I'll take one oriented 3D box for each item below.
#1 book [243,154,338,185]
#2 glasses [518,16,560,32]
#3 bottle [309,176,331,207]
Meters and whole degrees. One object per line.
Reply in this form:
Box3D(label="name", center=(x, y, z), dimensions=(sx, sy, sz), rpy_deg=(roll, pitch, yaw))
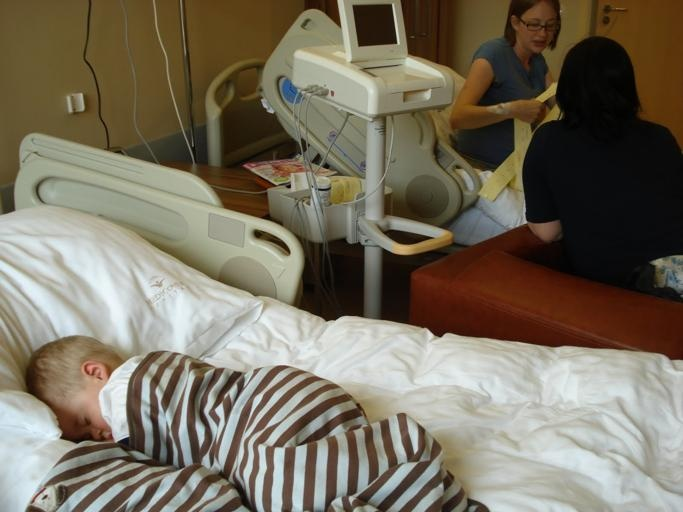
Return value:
Box3D(label="book", center=(-0.310, -0.463, 3.085), dimensions=(0.291, 0.078, 0.289), rpy_deg=(-22, 36, -36))
Box3D(label="glasses", center=(0.975, -1.121, 2.839), dimensions=(0.236, 0.063, 0.097), rpy_deg=(-12, 24, -27))
Box3D(label="bottle", center=(-0.095, -0.252, 2.294), dimensions=(0.089, 0.158, 0.096), rpy_deg=(2, 18, -1))
